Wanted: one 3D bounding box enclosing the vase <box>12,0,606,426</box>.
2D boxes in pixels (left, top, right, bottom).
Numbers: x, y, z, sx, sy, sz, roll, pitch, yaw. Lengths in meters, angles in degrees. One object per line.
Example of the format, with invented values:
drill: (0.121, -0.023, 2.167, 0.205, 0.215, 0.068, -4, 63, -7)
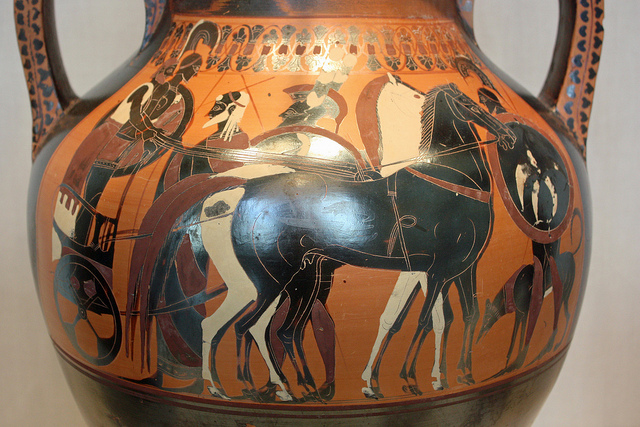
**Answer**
vase: (-0.026, 0.136, 1.985, 0.964, 0.958, 1.308, 0, -84, -4)
